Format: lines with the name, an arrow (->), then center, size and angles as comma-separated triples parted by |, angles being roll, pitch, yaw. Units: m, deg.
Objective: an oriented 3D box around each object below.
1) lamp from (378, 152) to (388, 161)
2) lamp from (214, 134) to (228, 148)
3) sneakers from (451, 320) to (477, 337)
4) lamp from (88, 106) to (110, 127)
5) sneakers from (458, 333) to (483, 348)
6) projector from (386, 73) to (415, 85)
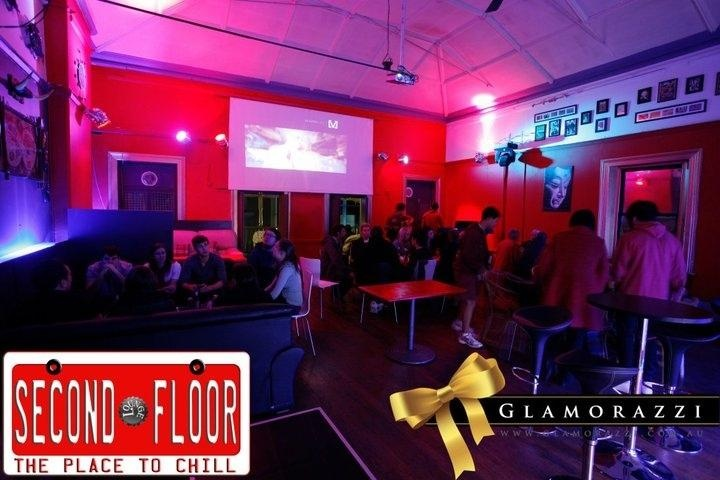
lamp -> 0.493, -1.818, 11.178 | 0.182, 0.091, 0.182 | -1, 13, -23
lamp -> -2.557, -1.871, 9.409 | 0.260, 0.201, 0.248 | -11, -27, -3
sneakers -> 1.361, 1.170, 6.838 | 0.145, 0.171, 0.387 | -2, 0, -27
lamp -> -4.166, -1.960, 8.116 | 0.425, 0.187, 0.319 | 34, 7, 40
sneakers -> 1.430, 1.286, 6.621 | 0.345, 0.170, 0.136 | 1, 4, 33
projector -> 0.700, -2.637, 8.360 | 0.423, 0.179, 0.422 | -1, 5, -16
